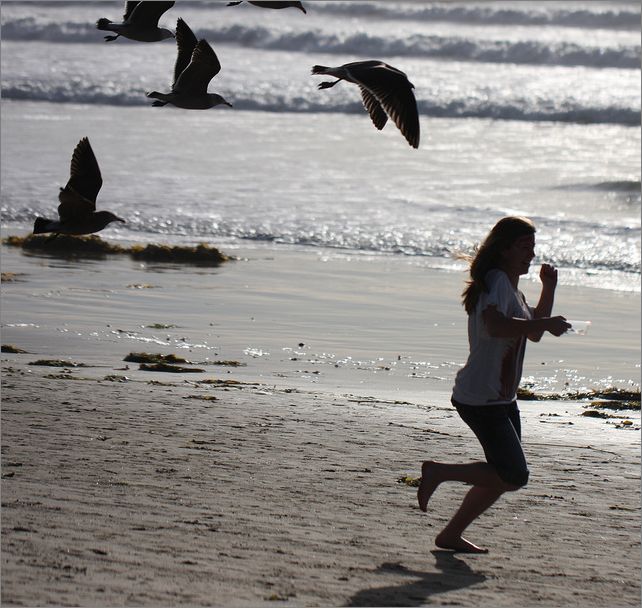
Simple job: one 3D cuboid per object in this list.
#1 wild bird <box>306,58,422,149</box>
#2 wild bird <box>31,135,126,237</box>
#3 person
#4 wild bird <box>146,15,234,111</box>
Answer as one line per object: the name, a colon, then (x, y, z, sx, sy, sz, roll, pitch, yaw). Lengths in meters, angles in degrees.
wild bird: (0.519, -2.075, 14.016, 1.031, 0.854, 0.715, 4, 12, 1)
wild bird: (-2.714, -1.329, 15.501, 0.874, 1.164, 0.822, 0, 13, -21)
person: (1.523, 0.713, 11.970, 1.085, 2.956, 0.691, 6, 13, 3)
wild bird: (-1.492, -2.754, 15.651, 0.798, 1.026, 1.007, 4, 11, -5)
